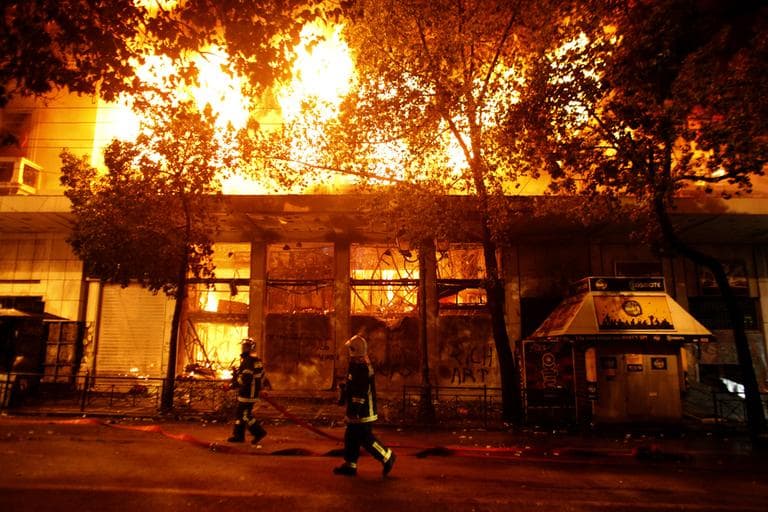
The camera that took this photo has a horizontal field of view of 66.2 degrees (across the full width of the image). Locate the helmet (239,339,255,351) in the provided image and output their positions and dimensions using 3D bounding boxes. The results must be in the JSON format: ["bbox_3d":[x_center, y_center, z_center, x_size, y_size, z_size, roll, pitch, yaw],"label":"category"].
[{"bbox_3d":[-3.695,2.428,15.976,0.320,0.426,0.432,0,14,-17],"label":"helmet"}]

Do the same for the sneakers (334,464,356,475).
[{"bbox_3d":[-0.865,4.772,13.216,0.447,0.248,0.221,2,-12,11],"label":"sneakers"}]

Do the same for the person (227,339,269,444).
[{"bbox_3d":[-3.594,3.577,15.612,0.974,2.732,0.655,-8,-17,29],"label":"person"}]

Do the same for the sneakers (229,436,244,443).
[{"bbox_3d":[-3.902,4.854,15.551,0.350,0.223,0.201,2,-1,-7],"label":"sneakers"}]
